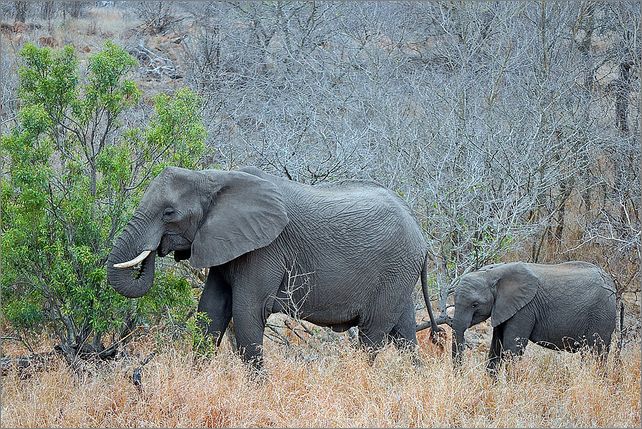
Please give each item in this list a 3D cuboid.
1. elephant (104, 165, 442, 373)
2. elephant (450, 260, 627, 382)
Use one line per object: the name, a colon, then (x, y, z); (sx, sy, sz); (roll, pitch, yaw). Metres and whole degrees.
elephant: (-0.526, 1.022, 10.605); (5.196, 3.507, 1.804); (4, 7, -10)
elephant: (3.510, 1.796, 11.635); (2.583, 2.211, 1.276); (-1, 1, 8)
